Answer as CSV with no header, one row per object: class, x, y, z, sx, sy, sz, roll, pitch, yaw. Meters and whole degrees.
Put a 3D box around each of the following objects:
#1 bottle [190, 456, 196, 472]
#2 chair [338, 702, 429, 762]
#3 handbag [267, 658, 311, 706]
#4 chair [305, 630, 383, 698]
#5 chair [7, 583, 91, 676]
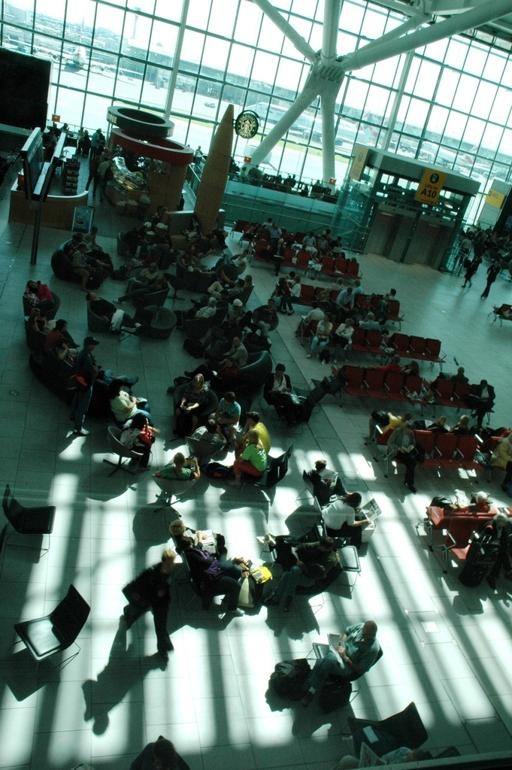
bottle,-0.754,0.955,6.785,0.088,0.038,0.124,-7,70,-36
chair,1.019,2.641,4.250,0.522,0.192,0.416,-15,43,0
handbag,0.287,2.483,4.738,0.323,0.209,0.352,18,23,1
chair,0.778,2.466,4.903,0.379,0.639,0.319,34,12,-41
chair,-1.573,1.819,4.346,0.391,0.360,0.440,34,28,33
